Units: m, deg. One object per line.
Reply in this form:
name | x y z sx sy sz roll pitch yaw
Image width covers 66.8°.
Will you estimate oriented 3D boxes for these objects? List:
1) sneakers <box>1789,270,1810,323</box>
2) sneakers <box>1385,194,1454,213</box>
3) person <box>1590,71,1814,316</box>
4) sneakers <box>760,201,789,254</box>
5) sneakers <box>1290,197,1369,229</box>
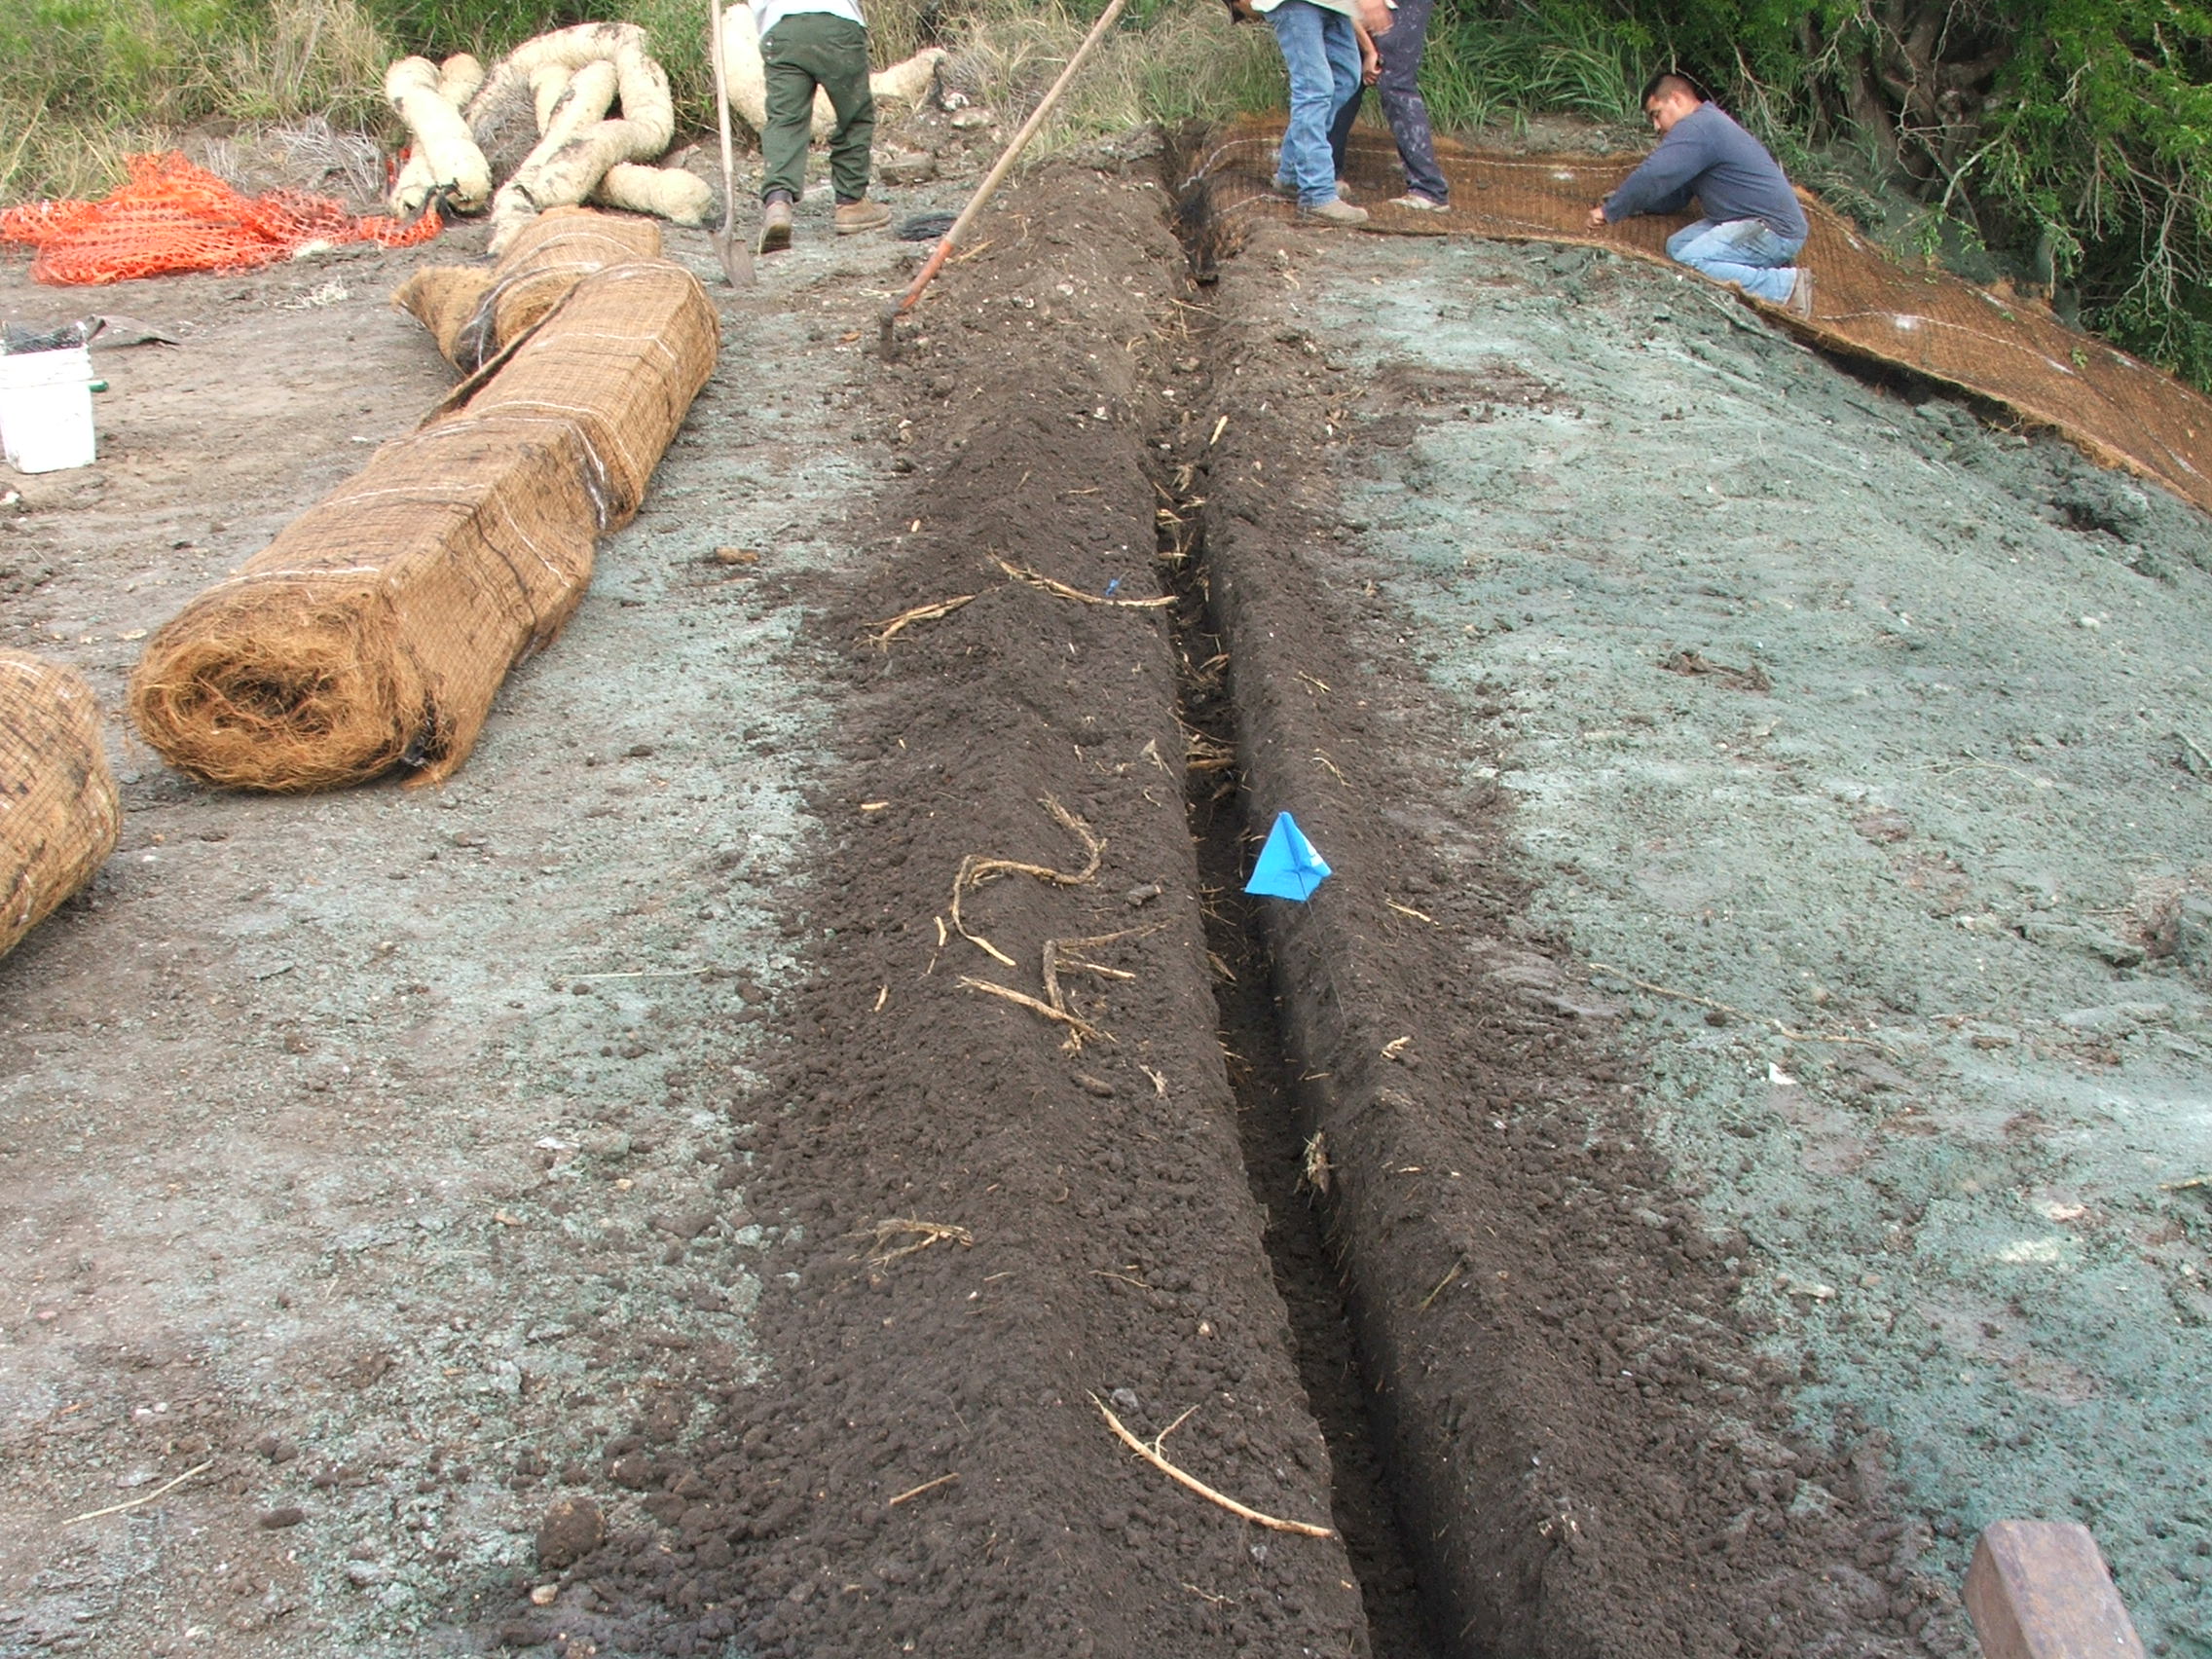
sneakers | 3.105 -2.407 7.598 0.090 0.232 0.104 1 5 12
sneakers | 1.536 -3.081 8.280 0.318 0.113 0.101 8 16 -3
person | 2.839 -2.913 7.667 0.557 0.820 1.056 -23 43 -31
sneakers | -1.580 -2.915 8.199 0.114 0.125 0.304 0 0 -14
sneakers | 1.086 -2.947 8.010 0.311 0.116 0.136 6 31 11
